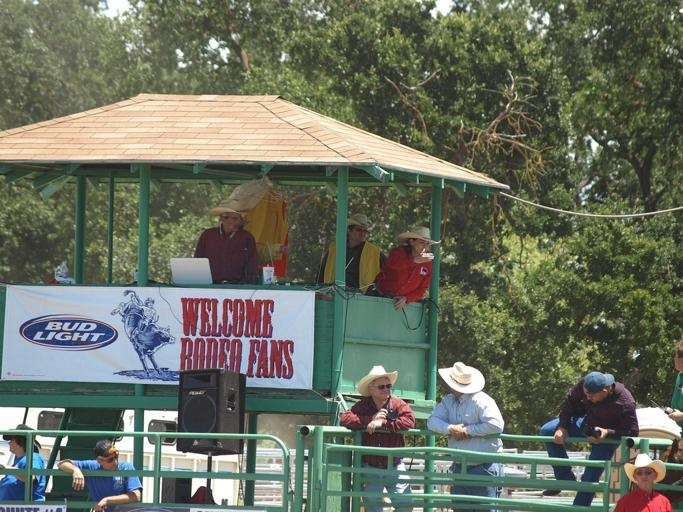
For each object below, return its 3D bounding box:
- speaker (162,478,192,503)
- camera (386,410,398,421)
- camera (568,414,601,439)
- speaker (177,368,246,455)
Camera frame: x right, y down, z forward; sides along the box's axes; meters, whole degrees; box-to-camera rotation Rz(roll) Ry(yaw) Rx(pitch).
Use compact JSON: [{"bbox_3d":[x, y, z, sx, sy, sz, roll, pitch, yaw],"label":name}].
[{"bbox_3d":[-4.718,6.624,57.507,0.800,0.779,3.408,2,-9,-5],"label":"speaker"},{"bbox_3d":[1.278,4.186,53.192,0.297,0.247,0.107,2,-8,-8],"label":"camera"},{"bbox_3d":[6.248,4.529,52.957,0.736,0.416,0.234,24,7,32],"label":"camera"},{"bbox_3d":[-3.475,4.117,53.647,1.748,2.219,0.752,2,-8,-6],"label":"speaker"}]
